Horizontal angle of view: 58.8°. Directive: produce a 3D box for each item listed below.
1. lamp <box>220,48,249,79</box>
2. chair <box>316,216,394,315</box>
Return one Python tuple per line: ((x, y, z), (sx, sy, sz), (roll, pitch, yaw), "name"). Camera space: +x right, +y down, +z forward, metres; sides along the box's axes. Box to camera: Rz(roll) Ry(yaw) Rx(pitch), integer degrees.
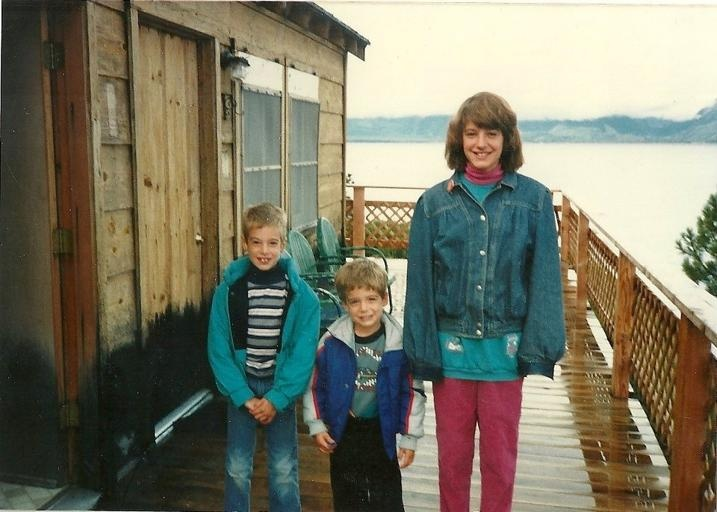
((-0.782, -1.196, 3.999), (0.169, 0.148, 0.092), (5, 10, -16), "lamp")
((-0.005, 0.117, 4.369), (0.514, 0.766, 0.509), (-1, 10, 10), "chair")
